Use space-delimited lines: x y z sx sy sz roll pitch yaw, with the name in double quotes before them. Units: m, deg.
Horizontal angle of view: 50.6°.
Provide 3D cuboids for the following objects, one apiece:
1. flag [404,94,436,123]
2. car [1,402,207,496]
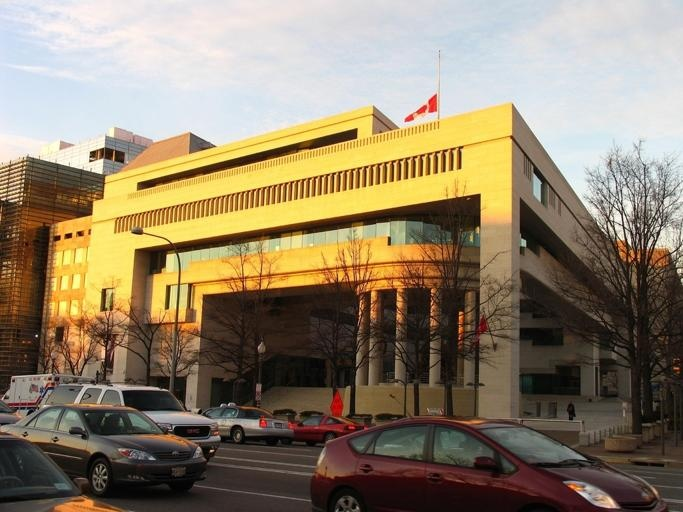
"flag" 5.903 -10.440 51.358 1.863 2.173 2.514 1 -14 -2
"car" -5.523 4.300 16.386 4.963 1.345 2.082 -7 -14 34
